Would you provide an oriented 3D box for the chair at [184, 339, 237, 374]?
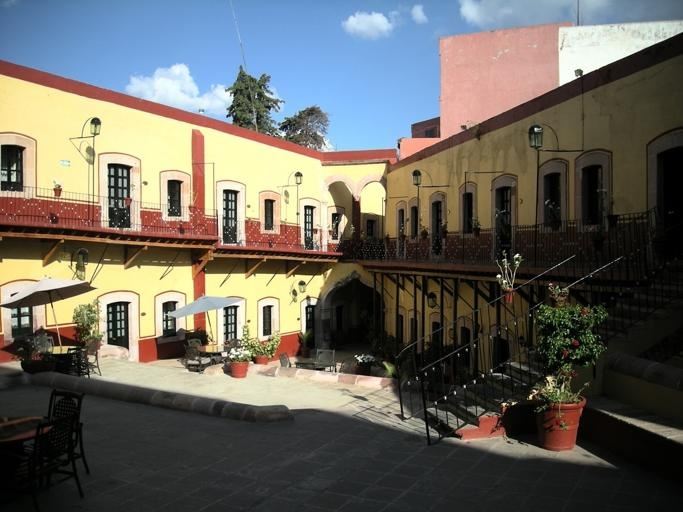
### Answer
[{"bbox_3d":[-4.537,3.391,20.470,1.127,0.560,1.146,1,0,8],"label":"chair"}]

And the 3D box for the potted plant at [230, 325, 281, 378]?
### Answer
[{"bbox_3d":[-2.965,3.260,20.713,1.578,1.053,2.617,0,-3,-14],"label":"potted plant"}]

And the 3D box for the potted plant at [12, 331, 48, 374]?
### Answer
[{"bbox_3d":[-8.315,2.656,16.527,0.844,1.212,0.888,-2,-6,8],"label":"potted plant"}]

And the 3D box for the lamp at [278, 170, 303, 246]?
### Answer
[{"bbox_3d":[-2.042,-2.004,26.537,0.483,3.145,1.164,4,7,30],"label":"lamp"}]

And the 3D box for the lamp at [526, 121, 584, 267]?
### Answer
[{"bbox_3d":[4.925,-1.694,16.194,1.698,3.721,1.915,-2,6,-25],"label":"lamp"}]

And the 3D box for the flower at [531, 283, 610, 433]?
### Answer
[{"bbox_3d":[4.331,1.988,11.983,1.396,2.606,0.862,-1,6,-19],"label":"flower"}]

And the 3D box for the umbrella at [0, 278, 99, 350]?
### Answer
[{"bbox_3d":[-7.717,1.386,16.506,1.521,1.131,1.438,-21,-3,-44],"label":"umbrella"}]

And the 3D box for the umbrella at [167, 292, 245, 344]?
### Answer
[{"bbox_3d":[-4.526,2.094,20.494,1.316,0.867,1.323,1,15,39],"label":"umbrella"}]

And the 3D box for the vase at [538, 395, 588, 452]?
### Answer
[{"bbox_3d":[4.209,3.342,12.267,1.083,0.948,1.103,0,-3,29],"label":"vase"}]
